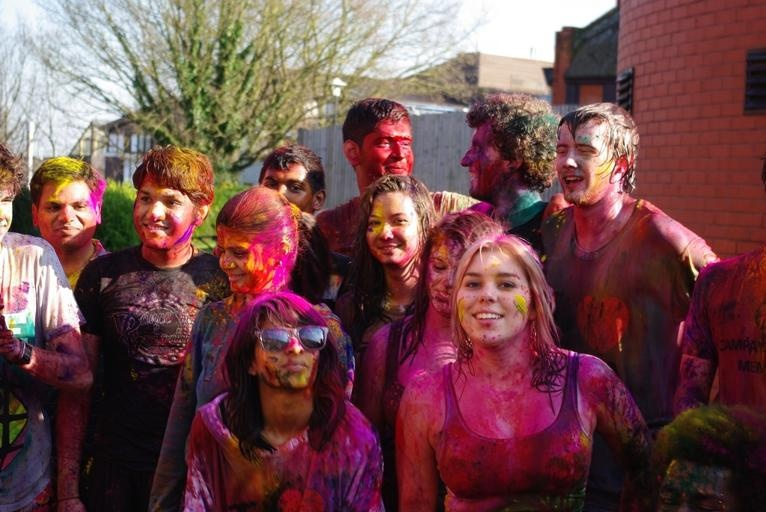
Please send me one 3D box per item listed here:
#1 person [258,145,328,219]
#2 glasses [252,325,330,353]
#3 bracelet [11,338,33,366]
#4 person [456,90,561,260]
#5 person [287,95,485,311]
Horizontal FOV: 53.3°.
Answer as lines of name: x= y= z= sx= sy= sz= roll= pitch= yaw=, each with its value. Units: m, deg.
person: x=-0.775 y=-0.677 z=6.760 sx=0.523 sy=0.836 sz=0.617 roll=0 pitch=-5 yaw=13
glasses: x=-0.494 y=0.444 z=4.142 sx=0.380 sy=0.137 sz=0.060 roll=1 pitch=5 yaw=-7
bracelet: x=-2.174 y=0.592 z=4.647 sx=0.126 sy=0.156 sz=0.095 roll=-6 pitch=-5 yaw=37
person: x=0.974 y=-0.668 z=6.356 sx=0.949 sy=1.748 sz=0.994 roll=2 pitch=-2 yaw=12
person: x=-0.009 y=-0.552 z=6.725 sx=1.967 sy=1.661 sz=0.720 roll=-10 pitch=11 yaw=-28
